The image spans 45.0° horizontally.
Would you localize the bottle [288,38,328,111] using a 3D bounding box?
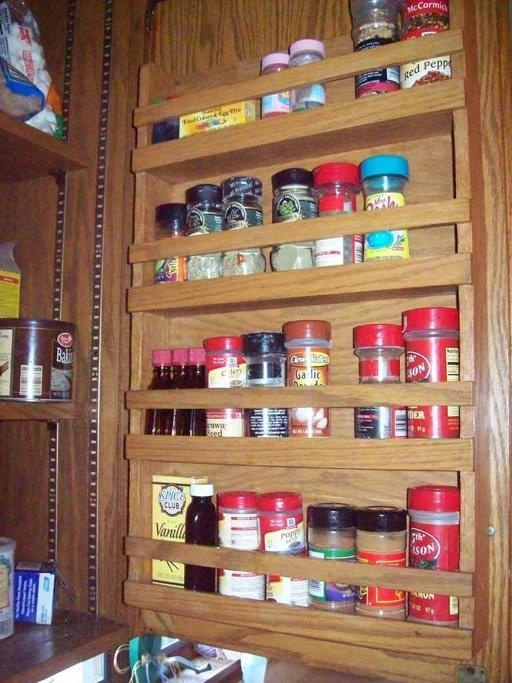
[{"bbox_3d":[0.082,-0.470,1.092,0.077,0.119,0.075,-3,19,1],"label":"bottle"}]
